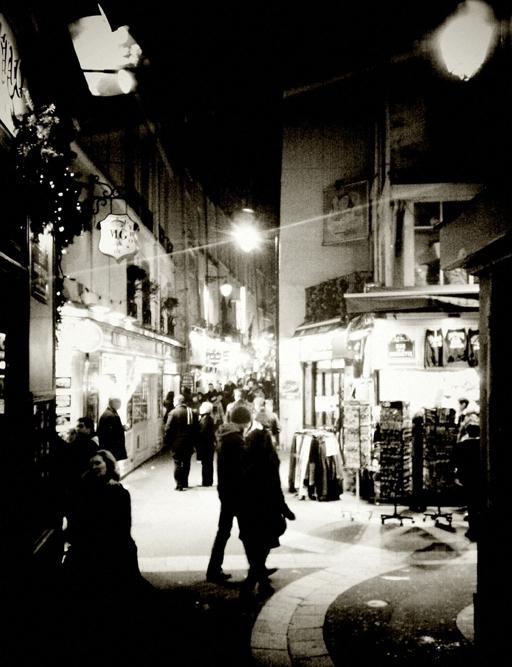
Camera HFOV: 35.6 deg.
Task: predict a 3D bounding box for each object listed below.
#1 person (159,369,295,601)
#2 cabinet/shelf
[{"bbox_3d":[-0.115,1.745,8.647,0.846,1.875,0.783,1,0,14],"label":"person"},{"bbox_3d":[1.637,1.849,12.426,0.528,1.649,1.136,1,0,12],"label":"cabinet/shelf"}]
